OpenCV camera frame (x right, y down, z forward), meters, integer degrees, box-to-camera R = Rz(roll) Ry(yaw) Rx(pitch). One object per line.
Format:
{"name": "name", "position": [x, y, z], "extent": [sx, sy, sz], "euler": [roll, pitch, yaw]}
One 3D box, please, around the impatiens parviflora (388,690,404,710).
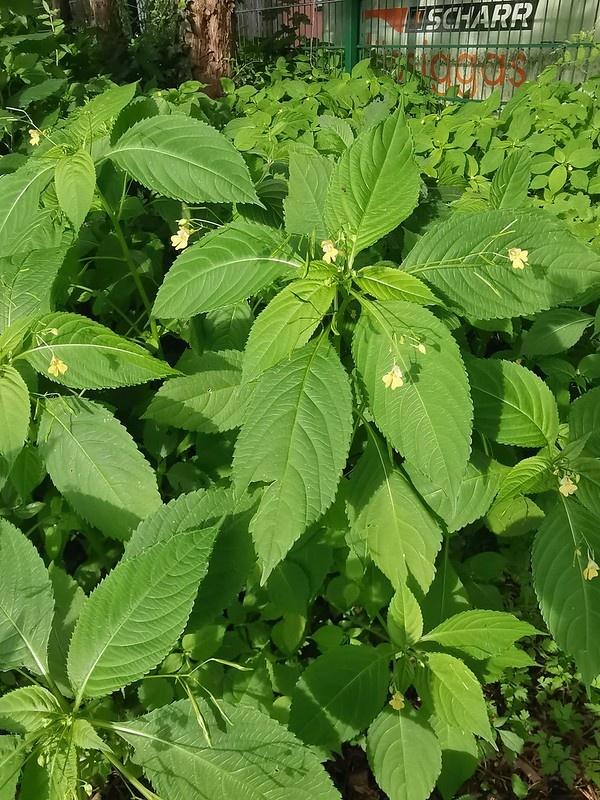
{"name": "impatiens parviflora", "position": [0.236, 0.753, 1.581], "extent": [0.048, 0.062, 0.019], "euler": [3, 34, 16]}

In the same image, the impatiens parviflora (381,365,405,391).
{"name": "impatiens parviflora", "position": [0.190, -0.045, 1.344], "extent": [0.049, 0.047, 0.016], "euler": [1, -10, 21]}

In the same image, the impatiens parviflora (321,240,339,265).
{"name": "impatiens parviflora", "position": [0.064, -0.325, 1.415], "extent": [0.057, 0.053, 0.019], "euler": [1, 5, 15]}
